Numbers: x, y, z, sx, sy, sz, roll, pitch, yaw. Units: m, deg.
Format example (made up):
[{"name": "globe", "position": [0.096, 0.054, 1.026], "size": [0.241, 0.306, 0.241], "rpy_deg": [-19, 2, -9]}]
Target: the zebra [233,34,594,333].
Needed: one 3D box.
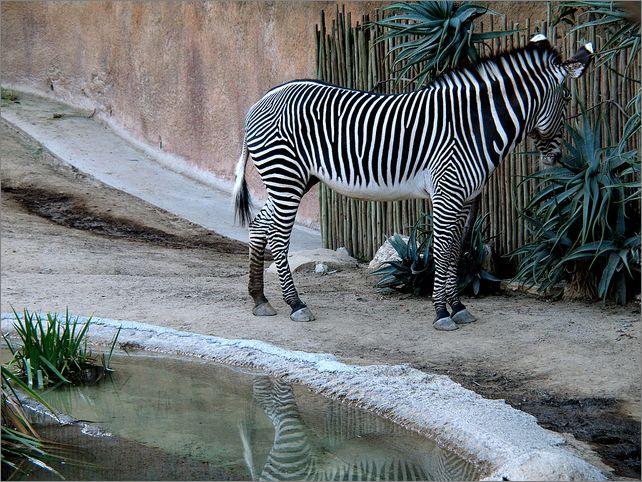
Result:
[{"name": "zebra", "position": [0.725, -0.535, 7.381], "size": [3.165, 2.265, 0.822], "rpy_deg": [-2, 2, 3]}]
